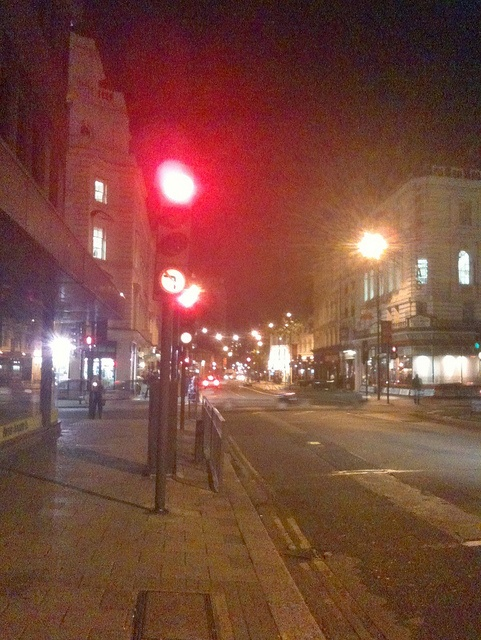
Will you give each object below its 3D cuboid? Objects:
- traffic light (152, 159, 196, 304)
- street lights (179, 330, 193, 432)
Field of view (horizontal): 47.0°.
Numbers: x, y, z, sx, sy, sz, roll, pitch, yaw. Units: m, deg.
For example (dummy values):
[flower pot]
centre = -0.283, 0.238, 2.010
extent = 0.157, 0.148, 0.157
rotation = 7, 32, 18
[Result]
[traffic light]
centre = -0.778, -1.020, 6.668
extent = 0.485, 1.548, 0.719
rotation = 1, -6, -9
[street lights]
centre = -1.735, 2.082, 18.649
extent = 0.378, 3.706, 0.443
rotation = -6, 19, -20
